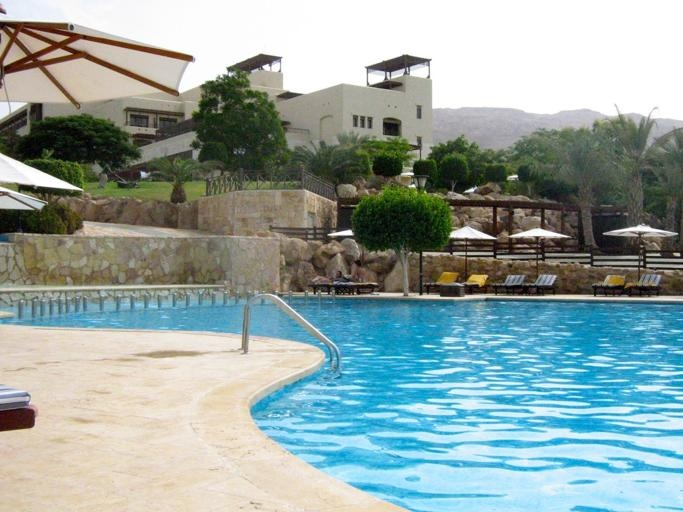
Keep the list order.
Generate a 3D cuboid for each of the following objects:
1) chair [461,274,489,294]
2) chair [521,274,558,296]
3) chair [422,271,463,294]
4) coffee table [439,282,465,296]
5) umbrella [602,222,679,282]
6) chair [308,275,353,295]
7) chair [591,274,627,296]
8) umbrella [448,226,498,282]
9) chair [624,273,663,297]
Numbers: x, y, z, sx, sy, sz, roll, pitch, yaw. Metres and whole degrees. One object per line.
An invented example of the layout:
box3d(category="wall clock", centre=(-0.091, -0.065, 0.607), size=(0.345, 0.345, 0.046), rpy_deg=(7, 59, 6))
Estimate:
box3d(category="chair", centre=(5.064, 1.047, 28.628), size=(0.789, 0.615, 1.037), rpy_deg=(-1, -1, 25))
box3d(category="chair", centre=(7.458, 1.072, 28.214), size=(1.367, 0.748, 0.795), rpy_deg=(3, -3, -38))
box3d(category="chair", centre=(3.798, 0.984, 28.350), size=(0.865, 0.731, 1.278), rpy_deg=(-3, -3, 44))
box3d(category="coffee table", centre=(3.818, 1.156, 26.081), size=(0.758, 0.409, 0.339), rpy_deg=(0, 2, -1))
box3d(category="umbrella", centre=(13.369, -0.192, 34.067), size=(2.908, 2.418, 2.889), rpy_deg=(0, 1, 4))
box3d(category="chair", centre=(-0.377, 1.054, 27.468), size=(1.455, 0.627, 1.551), rpy_deg=(0, 2, 1))
box3d(category="chair", centre=(9.545, 1.030, 26.970), size=(1.069, 0.778, 1.035), rpy_deg=(0, 0, -29))
box3d(category="umbrella", centre=(5.469, -0.031, 31.589), size=(2.443, 2.044, 2.405), rpy_deg=(2, 2, -23))
box3d(category="chair", centre=(10.634, 0.990, 26.562), size=(1.261, 0.734, 0.870), rpy_deg=(3, -4, -39))
